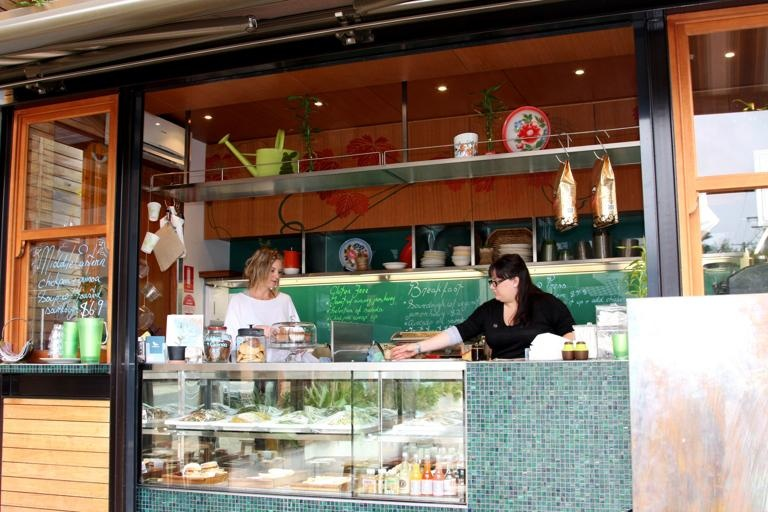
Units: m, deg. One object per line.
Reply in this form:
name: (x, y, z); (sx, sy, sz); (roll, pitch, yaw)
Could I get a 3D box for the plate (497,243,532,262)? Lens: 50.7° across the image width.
plate: (1.210, -0.054, 7.530); (0.234, 0.090, 0.219); (4, -6, -41)

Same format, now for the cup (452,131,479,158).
cup: (0.557, -0.751, 5.511); (0.192, 0.184, 0.205); (1, 0, 0)

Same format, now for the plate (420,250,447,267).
plate: (0.476, 0.032, 7.747); (0.180, 0.108, 0.180); (-3, -5, 37)

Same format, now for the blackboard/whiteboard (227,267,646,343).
blackboard/whiteboard: (0.438, 0.571, 8.313); (4.183, 0.879, 0.524); (-3, -9, 26)

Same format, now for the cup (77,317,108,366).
cup: (-1.966, 0.562, 5.431); (0.197, 0.311, 0.189); (-3, -10, -1)

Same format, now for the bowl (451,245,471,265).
bowl: (0.737, -0.003, 7.625); (0.185, 0.131, 0.163); (1, -8, 12)

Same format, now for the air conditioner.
air conditioner: (-2.039, -0.990, 7.222); (0.521, 0.315, 0.714); (-20, -21, 31)

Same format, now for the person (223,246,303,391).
person: (-0.889, 0.596, 6.171); (0.713, 1.243, 0.475); (2, -2, -32)

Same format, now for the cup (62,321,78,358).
cup: (-2.119, 0.568, 5.488); (0.106, 0.250, 0.102); (-3, -10, -1)

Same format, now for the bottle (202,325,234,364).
bottle: (-1.080, 0.572, 5.258); (0.201, 0.225, 0.203); (1, -7, -2)

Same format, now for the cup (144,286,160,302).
cup: (-1.682, 0.260, 5.877); (0.088, 0.101, 0.114); (0, -10, -18)

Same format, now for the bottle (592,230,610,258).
bottle: (1.957, -0.100, 7.300); (0.150, 0.249, 0.081); (-6, -10, 14)

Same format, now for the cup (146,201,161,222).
cup: (-1.690, -0.331, 5.958); (0.072, 0.134, 0.207); (0, -10, -19)

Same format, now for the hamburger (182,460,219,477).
hamburger: (-1.145, 1.339, 5.078); (0.152, 0.048, 0.142); (3, -6, -39)

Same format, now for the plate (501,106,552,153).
plate: (0.956, -0.848, 5.456); (0.310, 0.352, 0.229); (-4, -10, 7)

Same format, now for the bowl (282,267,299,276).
bowl: (-0.903, 0.149, 7.979); (0.110, 0.045, 0.071); (4, -6, -31)

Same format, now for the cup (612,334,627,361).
cup: (1.348, 0.512, 4.623); (0.074, 0.153, 0.132); (-4, -10, 6)

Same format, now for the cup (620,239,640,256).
cup: (2.169, -0.074, 7.151); (0.170, 0.145, 0.162); (-1, -1, 0)

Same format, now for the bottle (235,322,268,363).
bottle: (-0.841, 0.561, 5.133); (0.187, 0.224, 0.209); (-2, -10, -9)

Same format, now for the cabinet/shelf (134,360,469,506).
cabinet/shelf: (-0.495, 1.078, 4.943); (2.096, 0.924, 0.351); (-7, -10, 22)

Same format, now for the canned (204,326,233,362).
canned: (-1.082, 0.574, 5.254); (0.195, 0.221, 0.196); (2, -7, -26)

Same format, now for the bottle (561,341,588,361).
bottle: (1.087, 0.541, 4.594); (0.145, 0.095, 0.085); (-2, -3, 14)

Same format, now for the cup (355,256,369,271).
cup: (-0.205, 0.057, 8.052); (0.136, 0.181, 0.142); (-3, -10, -1)
